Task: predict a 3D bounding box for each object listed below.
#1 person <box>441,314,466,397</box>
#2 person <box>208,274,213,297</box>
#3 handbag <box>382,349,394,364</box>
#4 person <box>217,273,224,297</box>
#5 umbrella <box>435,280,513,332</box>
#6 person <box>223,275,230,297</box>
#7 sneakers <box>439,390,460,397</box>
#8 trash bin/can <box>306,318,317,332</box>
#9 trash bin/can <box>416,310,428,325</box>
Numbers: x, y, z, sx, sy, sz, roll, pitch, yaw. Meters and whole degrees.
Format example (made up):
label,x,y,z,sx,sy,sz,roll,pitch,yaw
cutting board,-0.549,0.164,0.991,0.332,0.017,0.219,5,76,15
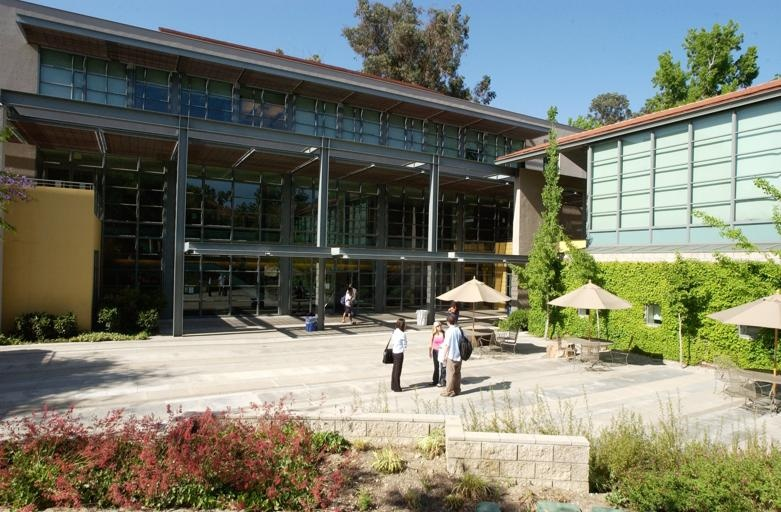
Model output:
label,x,y,z,sx,sy,sz,roll,pitch,yaw
person,2.105,3.462,21.957,0.701,2.757,0.821,0,-5,4
person,-10.054,1.695,35.482,0.252,1.104,0.129,1,-5,-19
handbag,-0.070,3.452,21.979,0.332,0.479,0.311,0,-5,-5
person,-9.512,1.642,35.749,0.322,1.243,0.086,2,-5,-25
umbrella,3.775,1.884,27.267,2.706,1.923,2.694,3,-4,-28
person,-9.259,1.662,35.882,0.253,0.899,0.994,5,-6,-15
sneakers,2.034,4.742,21.832,0.646,0.244,0.235,4,-9,3
trash bin/can,-3.966,3.403,31.690,0.648,0.837,0.677,-1,2,6
trash bin/can,1.794,3.360,34.590,0.748,0.901,0.823,1,-1,-19
